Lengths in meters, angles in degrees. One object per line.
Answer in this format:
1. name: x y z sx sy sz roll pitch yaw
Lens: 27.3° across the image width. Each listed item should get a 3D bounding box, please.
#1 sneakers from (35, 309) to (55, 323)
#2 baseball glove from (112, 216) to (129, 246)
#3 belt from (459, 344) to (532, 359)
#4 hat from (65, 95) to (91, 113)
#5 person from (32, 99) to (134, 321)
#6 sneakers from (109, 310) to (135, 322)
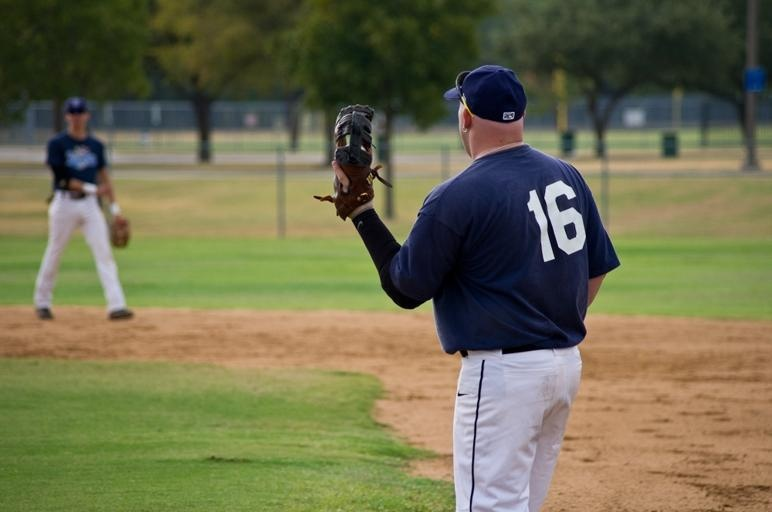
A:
1. sneakers: -3.489 0.614 16.194 0.225 0.096 0.088 1 1 34
2. baseball glove: -2.765 -0.230 16.467 0.226 0.273 0.135 0 -2 -1
3. belt: 0.995 0.859 14.119 0.703 0.126 0.084 0 6 6
4. hat: -3.187 -1.504 16.251 0.211 0.161 0.078 -3 6 -23
5. person: -3.161 -0.455 16.309 0.951 2.245 0.464 -2 6 -13
6. sneakers: -2.728 0.627 16.313 0.264 0.114 0.096 -4 10 -5
